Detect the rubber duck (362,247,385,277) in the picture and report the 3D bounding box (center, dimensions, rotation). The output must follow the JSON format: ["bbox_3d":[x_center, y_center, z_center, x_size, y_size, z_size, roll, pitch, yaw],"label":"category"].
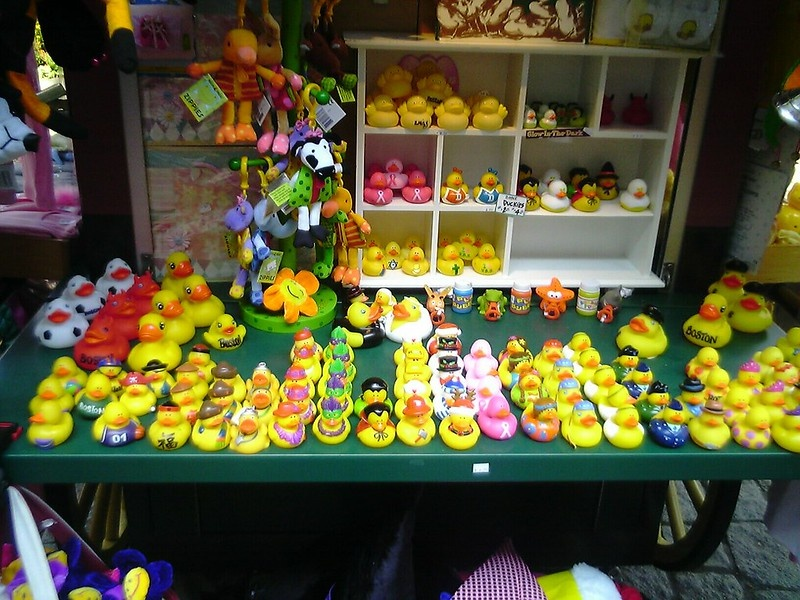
[{"bbox_3d":[-0.128,-0.185,2.659,0.103,0.142,0.134,-2,8,-21],"label":"rubber duck"}]

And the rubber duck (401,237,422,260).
[{"bbox_3d":[0.062,-0.257,2.781,0.097,0.087,0.100,1,-1,-5],"label":"rubber duck"}]

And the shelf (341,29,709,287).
[{"bbox_3d":[0.575,-0.696,2.591,1.026,0.796,0.354,0,18,-3],"label":"shelf"}]

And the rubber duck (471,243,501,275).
[{"bbox_3d":[0.415,-0.200,2.722,0.134,0.144,0.139,1,-4,1],"label":"rubber duck"}]

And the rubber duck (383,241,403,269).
[{"bbox_3d":[-0.042,-0.222,2.705,0.112,0.115,0.115,0,5,-6],"label":"rubber duck"}]

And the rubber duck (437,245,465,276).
[{"bbox_3d":[0.233,-0.198,2.710,0.136,0.141,0.143,-1,5,-14],"label":"rubber duck"}]

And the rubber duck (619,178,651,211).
[{"bbox_3d":[1.106,-0.519,2.702,0.135,0.144,0.151,-2,18,-5],"label":"rubber duck"}]

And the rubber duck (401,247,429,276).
[{"bbox_3d":[0.072,-0.185,2.685,0.129,0.131,0.132,1,0,-3],"label":"rubber duck"}]

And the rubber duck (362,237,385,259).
[{"bbox_3d":[-0.132,-0.253,2.720,0.100,0.104,0.098,1,1,-2],"label":"rubber duck"}]
